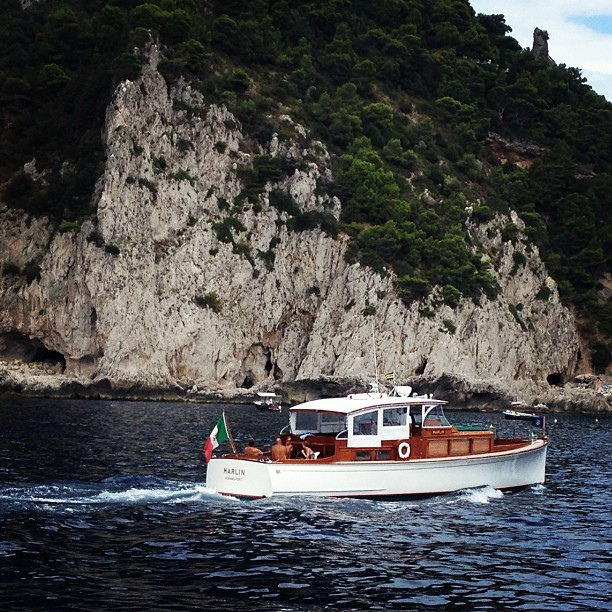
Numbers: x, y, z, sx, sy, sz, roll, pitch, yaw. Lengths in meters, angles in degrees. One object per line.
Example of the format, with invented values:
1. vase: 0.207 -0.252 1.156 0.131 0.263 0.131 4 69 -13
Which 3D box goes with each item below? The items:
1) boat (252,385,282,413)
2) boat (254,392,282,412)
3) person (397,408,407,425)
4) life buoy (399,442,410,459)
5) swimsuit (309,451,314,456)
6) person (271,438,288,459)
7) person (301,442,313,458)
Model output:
1. boat: -3.547 8.904 120.943 1.322 1.711 3.155 3 2 18
2. boat: -3.445 8.955 120.759 1.084 1.728 4.216 7 1 -35
3. person: 5.446 6.223 72.862 0.684 1.262 0.700 -1 3 4
4. life buoy: 5.520 8.060 72.027 0.714 0.752 0.221 -2 2 -30
5. swimsuit: 0.380 8.165 71.702 0.201 0.211 0.657 4 11 12
6. person: -1.452 7.953 71.387 0.845 1.154 0.633 1 11 -2
7. person: -0.014 8.000 71.641 0.653 1.196 0.624 -4 5 -36
